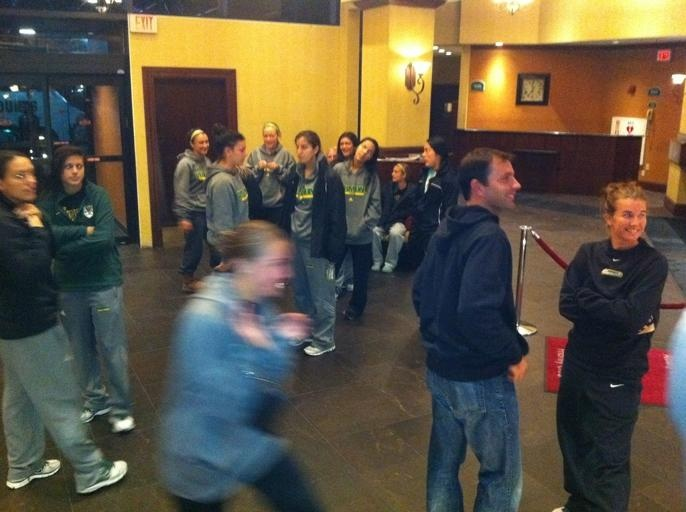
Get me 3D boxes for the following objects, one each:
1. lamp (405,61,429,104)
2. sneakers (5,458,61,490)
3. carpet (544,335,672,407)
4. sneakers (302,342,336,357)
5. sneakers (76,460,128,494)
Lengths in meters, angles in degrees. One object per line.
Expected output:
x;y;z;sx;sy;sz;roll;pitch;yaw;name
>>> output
1.482;-3.459;11.046;0.491;0.810;0.127;-4;18;-20;lamp
-2.053;1.459;3.707;0.120;0.141;0.324;15;24;41;sneakers
2.634;1.016;5.039;1.004;0.223;0.921;0;25;10;carpet
-0.231;0.936;5.556;0.305;0.124;0.120;3;-2;-22;sneakers
-1.591;1.459;3.671;0.123;0.133;0.298;20;31;40;sneakers
